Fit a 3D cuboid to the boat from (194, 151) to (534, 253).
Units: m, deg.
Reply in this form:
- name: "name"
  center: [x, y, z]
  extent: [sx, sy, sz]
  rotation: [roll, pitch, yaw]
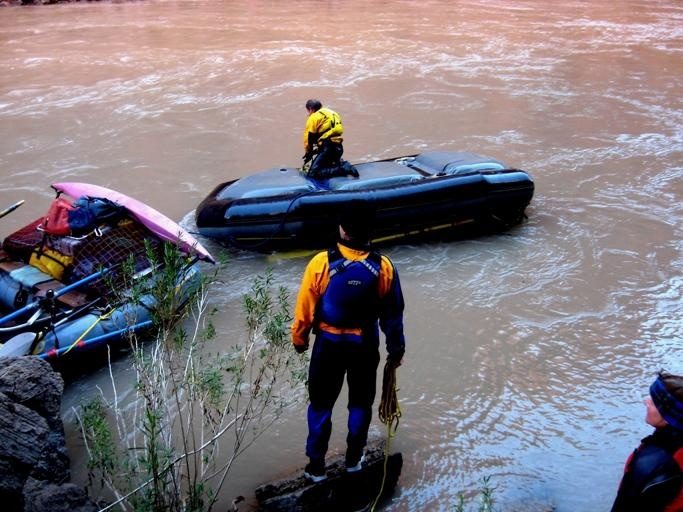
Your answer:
- name: "boat"
  center: [0.411, -0.868, 9.789]
  extent: [4.754, 0.717, 1.834]
  rotation: [-4, 15, -9]

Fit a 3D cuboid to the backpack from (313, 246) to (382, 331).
- name: "backpack"
  center: [0.035, 0.303, 5.716]
  extent: [0.630, 0.755, 0.360]
  rotation: [-2, 30, 4]

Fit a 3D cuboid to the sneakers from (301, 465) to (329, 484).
- name: "sneakers"
  center: [-0.236, 2.015, 5.912]
  extent: [0.286, 0.169, 0.140]
  rotation: [1, 6, 11]

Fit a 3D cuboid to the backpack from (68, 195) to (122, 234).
- name: "backpack"
  center: [-3.175, -0.517, 8.049]
  extent: [0.555, 0.175, 0.531]
  rotation: [13, 37, 17]
